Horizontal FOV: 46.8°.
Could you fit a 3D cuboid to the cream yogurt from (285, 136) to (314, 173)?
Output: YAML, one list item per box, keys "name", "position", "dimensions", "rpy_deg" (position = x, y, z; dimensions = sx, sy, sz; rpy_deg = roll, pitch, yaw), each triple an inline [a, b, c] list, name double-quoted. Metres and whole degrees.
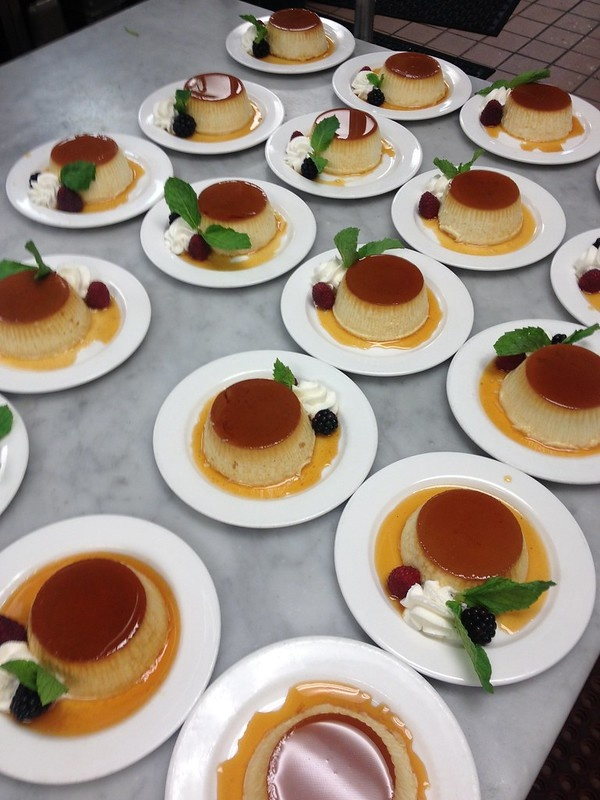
- name: "cream yogurt"
  position: [-0.002, -0.981, 2.792]
  dimensions: [0.115, 0.053, 0.148]
  rpy_deg: [8, 89, 28]

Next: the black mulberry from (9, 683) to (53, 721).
- name: "black mulberry"
  position: [-0.516, 0.577, 1.324]
  dimensions: [0.059, 0.026, 0.079]
  rpy_deg: [31, 50, -2]

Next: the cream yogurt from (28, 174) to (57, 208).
- name: "cream yogurt"
  position: [-0.947, -0.769, 2.585]
  dimensions: [0.134, 0.042, 0.140]
  rpy_deg: [-3, 77, 10]

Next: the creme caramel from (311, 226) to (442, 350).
- name: "creme caramel"
  position: [0.218, -0.308, 2.155]
  dimensions: [0.376, 0.129, 0.394]
  rpy_deg: [9, 51, 6]

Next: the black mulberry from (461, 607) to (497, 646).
- name: "black mulberry"
  position: [0.355, 0.458, 1.419]
  dimensions: [0.041, 0.080, 0.063]
  rpy_deg: [-37, 72, -14]

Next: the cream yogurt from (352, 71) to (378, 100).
- name: "cream yogurt"
  position: [0.281, -1.418, 3.091]
  dimensions: [0.113, 0.058, 0.141]
  rpy_deg: [-5, 78, 24]

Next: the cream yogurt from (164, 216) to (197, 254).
- name: "cream yogurt"
  position: [-0.420, -0.563, 2.450]
  dimensions: [0.094, 0.048, 0.134]
  rpy_deg: [4, 64, 2]

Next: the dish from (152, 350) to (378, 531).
- name: "dish"
  position: [-0.062, 0.108, 1.817]
  dimensions: [0.481, 0.065, 0.475]
  rpy_deg: [-32, 59, -26]

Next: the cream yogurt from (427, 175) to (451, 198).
- name: "cream yogurt"
  position: [0.512, -0.796, 2.587]
  dimensions: [0.081, 0.029, 0.090]
  rpy_deg: [0, 78, 2]

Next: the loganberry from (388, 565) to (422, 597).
- name: "loganberry"
  position: [0.227, 0.390, 1.508]
  dimensions: [0.053, 0.069, 0.061]
  rpy_deg: [-6, 85, 15]

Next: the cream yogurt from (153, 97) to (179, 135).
- name: "cream yogurt"
  position: [-0.576, -1.219, 3.025]
  dimensions: [0.142, 0.044, 0.150]
  rpy_deg: [3, 88, 5]

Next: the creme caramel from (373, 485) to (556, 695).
- name: "creme caramel"
  position: [0.346, 0.396, 1.574]
  dimensions: [0.343, 0.092, 0.378]
  rpy_deg: [-10, 47, -5]
